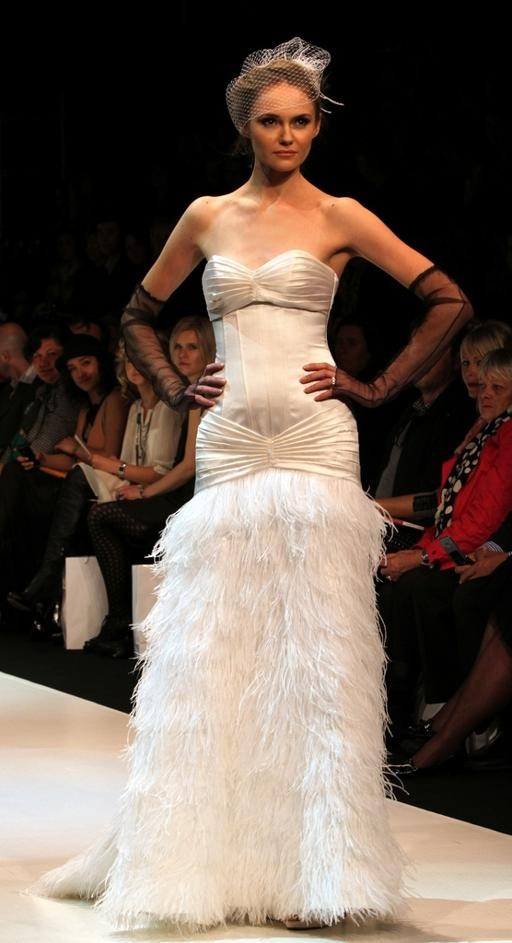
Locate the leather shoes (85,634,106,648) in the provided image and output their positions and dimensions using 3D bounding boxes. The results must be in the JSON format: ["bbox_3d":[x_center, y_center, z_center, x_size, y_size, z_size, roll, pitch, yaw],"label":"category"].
[{"bbox_3d":[-0.708,0.737,3.365,0.044,0.051,0.121,4,-16,-16],"label":"leather shoes"}]
